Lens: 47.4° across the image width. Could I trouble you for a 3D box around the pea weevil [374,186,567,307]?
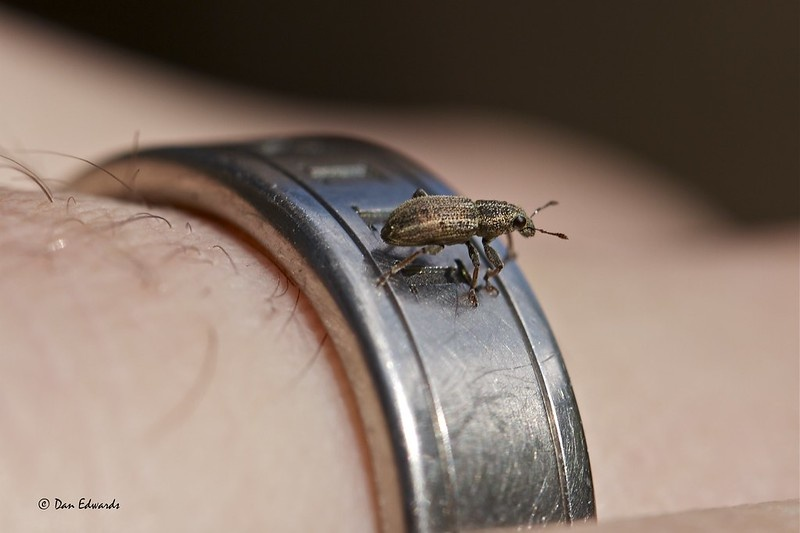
[{"bbox_3d":[0.104,-0.035,1.587,0.233,0.183,0.090,-2,-50,-14],"label":"pea weevil"}]
